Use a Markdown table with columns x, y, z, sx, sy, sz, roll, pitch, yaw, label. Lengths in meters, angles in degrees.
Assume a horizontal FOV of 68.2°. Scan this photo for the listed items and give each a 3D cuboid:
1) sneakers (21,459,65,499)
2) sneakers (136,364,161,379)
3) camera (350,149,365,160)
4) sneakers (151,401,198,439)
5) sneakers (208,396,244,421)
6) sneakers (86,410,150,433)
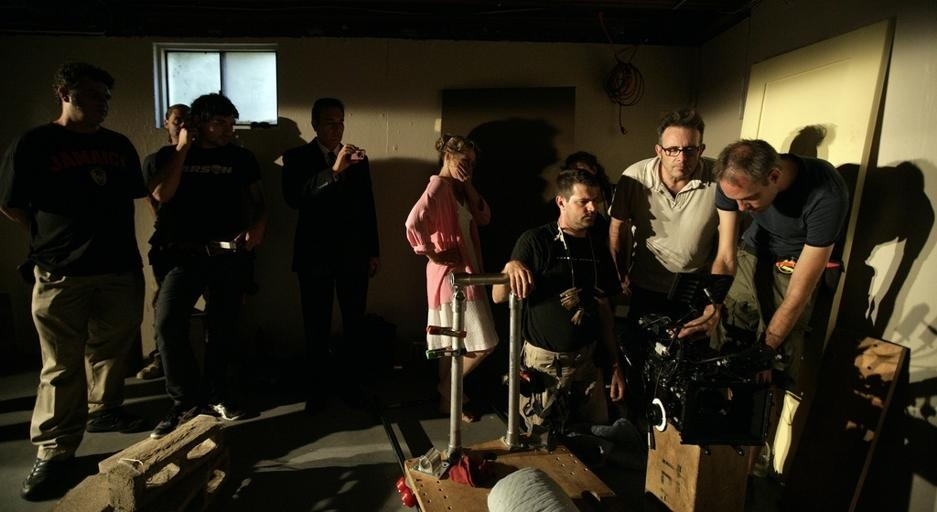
| x | y | z | sx | sy | sz | roll | pitch | yaw | label |
| --- | --- | --- | --- | --- | --- | --- | --- | --- | --- |
| -3.549 | 1.877 | 5.801 | 0.336 | 0.280 | 0.181 | 0 | 10 | -15 | sneakers |
| -3.231 | 1.188 | 7.028 | 0.224 | 0.084 | 0.118 | 5 | 1 | -39 | sneakers |
| -1.041 | -0.952 | 6.498 | 0.124 | 0.105 | 0.202 | 6 | 10 | -19 | camera |
| -2.678 | 1.492 | 6.261 | 0.392 | 0.266 | 0.255 | 3 | 10 | 2 | sneakers |
| -2.254 | 1.448 | 6.485 | 0.296 | 0.110 | 0.198 | 20 | 25 | -8 | sneakers |
| -3.179 | 1.506 | 6.390 | 0.555 | 0.222 | 0.209 | -3 | 5 | -12 | sneakers |
